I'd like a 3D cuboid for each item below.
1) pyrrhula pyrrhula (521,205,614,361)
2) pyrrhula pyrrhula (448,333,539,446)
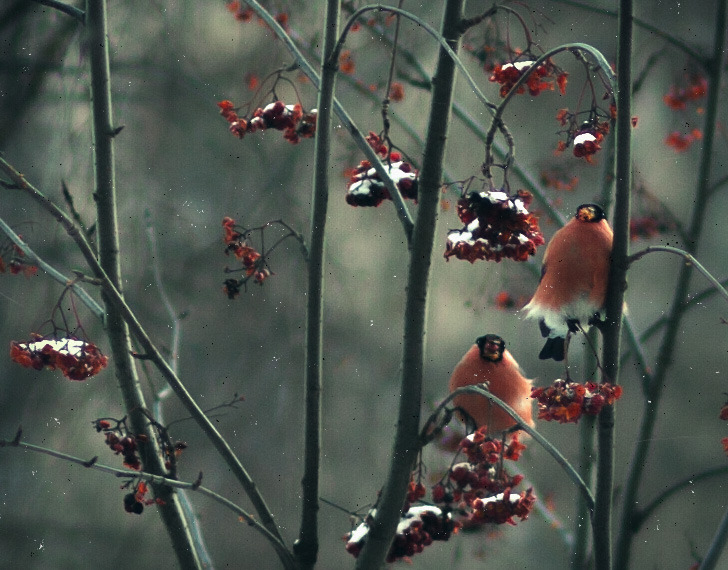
[{"bbox_3d":[0.690,-0.053,5.868,0.171,0.415,0.521,4,-16,-8],"label":"pyrrhula pyrrhula"},{"bbox_3d":[0.433,0.345,6.151,0.295,0.371,0.442,10,1,6],"label":"pyrrhula pyrrhula"}]
